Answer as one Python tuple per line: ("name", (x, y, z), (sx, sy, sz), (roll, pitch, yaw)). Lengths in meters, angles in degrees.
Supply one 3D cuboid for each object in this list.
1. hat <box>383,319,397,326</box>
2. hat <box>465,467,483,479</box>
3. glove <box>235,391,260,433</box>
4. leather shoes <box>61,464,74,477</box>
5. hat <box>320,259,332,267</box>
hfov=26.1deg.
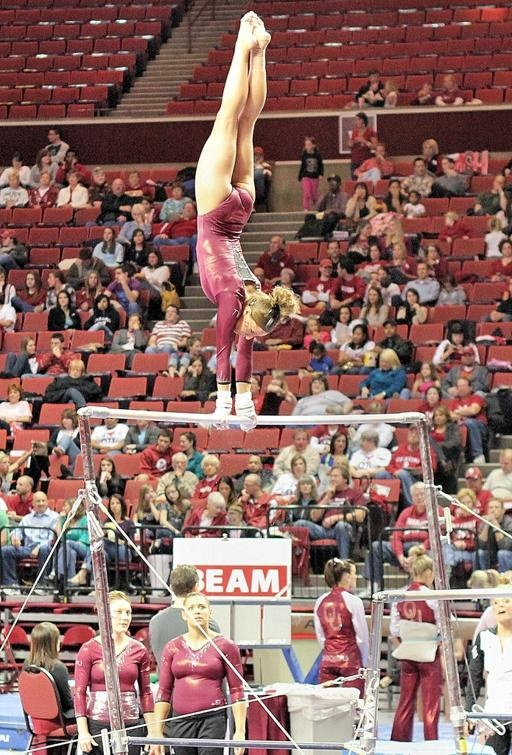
("hat", (1.405, -0.598, 11.740), (0.156, 0.062, 0.197), (-1, -1, 6))
("hat", (1.749, 0.777, 8.999), (0.103, 0.078, 0.153), (-9, -11, 17))
("glove", (-0.049, 0.152, 5.154), (0.114, 0.164, 0.070), (-8, -2, 0))
("leather shoes", (-1.848, 0.911, 10.837), (0.039, 0.104, 0.078), (-21, -11, 5))
("hat", (0.830, -1.395, 13.343), (0.128, 0.126, 0.150), (-1, -17, -5))
